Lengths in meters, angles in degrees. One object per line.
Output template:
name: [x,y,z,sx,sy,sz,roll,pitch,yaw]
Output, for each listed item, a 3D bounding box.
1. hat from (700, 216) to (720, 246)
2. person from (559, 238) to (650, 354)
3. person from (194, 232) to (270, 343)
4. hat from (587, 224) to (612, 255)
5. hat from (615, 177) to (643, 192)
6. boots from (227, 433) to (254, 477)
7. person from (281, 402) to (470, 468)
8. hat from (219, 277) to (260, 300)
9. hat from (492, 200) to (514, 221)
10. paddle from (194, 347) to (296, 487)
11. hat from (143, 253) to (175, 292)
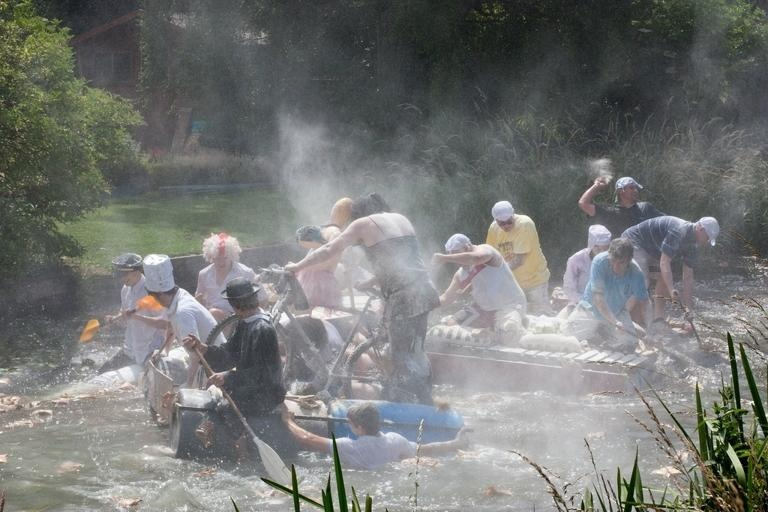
hat: [5.107,-0.402,12.708,0.341,0.469,0.275,-1,-2,-38]
person: [3.460,0.553,12.210,1.278,1.794,1.182,13,24,30]
person: [-2.513,0.398,12.299,0.984,1.614,0.984,8,20,13]
hat: [3.422,-0.276,12.964,0.338,0.439,0.431,-10,18,-12]
hat: [4.261,-1.274,13.919,0.501,0.276,0.380,-9,8,8]
boots: [-1.756,2.396,10.013,0.189,0.613,0.086,-19,12,-17]
person: [-0.490,2.207,10.360,2.026,0.546,0.802,-13,30,22]
hat: [-1.778,0.407,10.104,0.331,0.123,0.312,-9,11,-13]
hat: [1.965,-0.738,13.341,0.333,0.339,0.480,-3,-2,6]
paddle: [-1.743,2.018,10.002,0.327,2.251,0.095,-37,-6,6]
hat: [-3.033,0.231,11.074,0.462,0.502,0.423,-5,11,-6]
